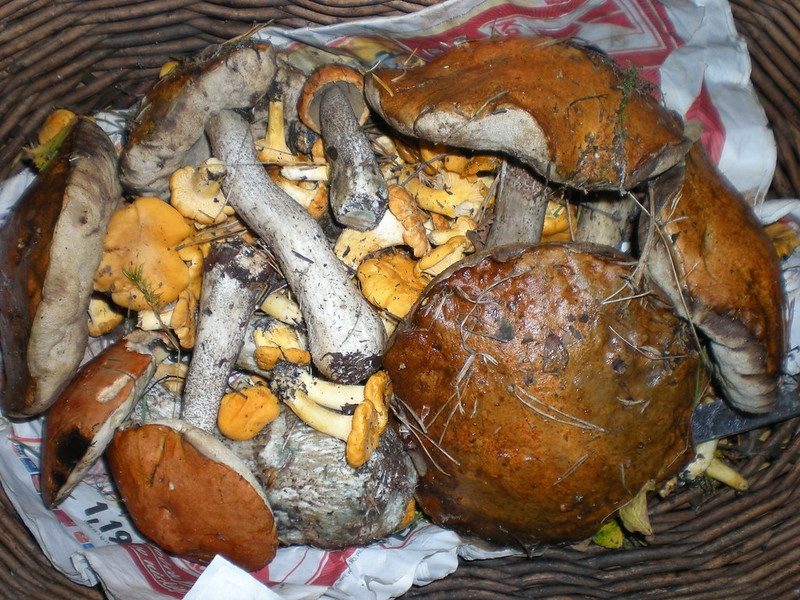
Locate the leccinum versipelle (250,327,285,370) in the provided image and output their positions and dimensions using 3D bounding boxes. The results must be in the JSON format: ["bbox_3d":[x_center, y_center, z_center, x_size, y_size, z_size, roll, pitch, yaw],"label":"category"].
[{"bbox_3d":[-0.614,0.250,5.139,0.165,0.151,0.057,31,10,7],"label":"leccinum versipelle"}]

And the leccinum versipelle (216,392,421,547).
[{"bbox_3d":[-0.348,0.825,5.130,0.733,0.655,0.212,-14,14,-9],"label":"leccinum versipelle"}]

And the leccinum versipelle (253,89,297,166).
[{"bbox_3d":[-0.589,-0.845,5.316,0.267,0.283,0.254,18,47,8],"label":"leccinum versipelle"}]

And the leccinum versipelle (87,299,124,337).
[{"bbox_3d":[-1.424,0.086,5.241,0.155,0.163,0.053,27,-17,-23],"label":"leccinum versipelle"}]

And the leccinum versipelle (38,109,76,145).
[{"bbox_3d":[-1.582,-0.798,5.045,0.062,0.169,0.128,45,8,-35],"label":"leccinum versipelle"}]

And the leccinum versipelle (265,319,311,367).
[{"bbox_3d":[-0.529,0.194,5.159,0.169,0.060,0.211,9,47,-50],"label":"leccinum versipelle"}]
